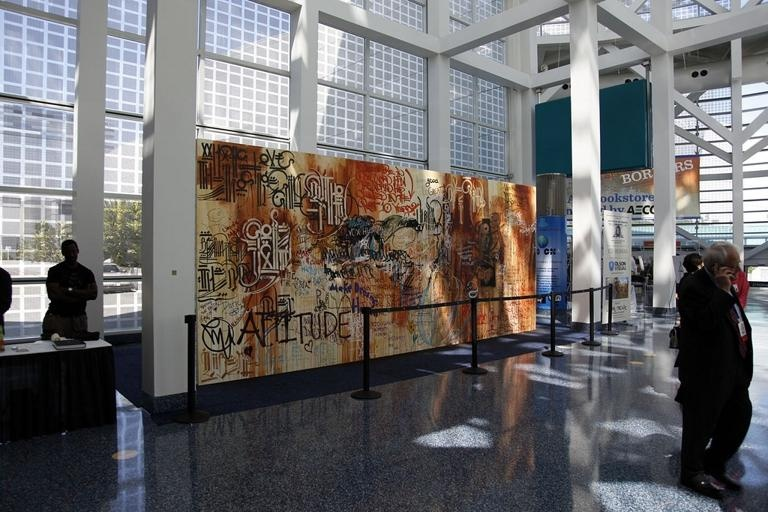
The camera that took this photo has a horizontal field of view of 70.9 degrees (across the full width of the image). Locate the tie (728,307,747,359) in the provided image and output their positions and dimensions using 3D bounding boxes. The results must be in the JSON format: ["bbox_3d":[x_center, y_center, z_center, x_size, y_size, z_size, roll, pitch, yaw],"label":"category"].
[{"bbox_3d":[4.101,0.860,6.205,0.215,0.553,0.170,-8,11,-39],"label":"tie"}]

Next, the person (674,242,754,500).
[{"bbox_3d":[3.823,1.276,6.177,0.790,2.817,0.581,0,9,0],"label":"person"}]

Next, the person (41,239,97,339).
[{"bbox_3d":[-5.026,0.559,8.497,0.806,1.508,1.318,-6,11,-34],"label":"person"}]
